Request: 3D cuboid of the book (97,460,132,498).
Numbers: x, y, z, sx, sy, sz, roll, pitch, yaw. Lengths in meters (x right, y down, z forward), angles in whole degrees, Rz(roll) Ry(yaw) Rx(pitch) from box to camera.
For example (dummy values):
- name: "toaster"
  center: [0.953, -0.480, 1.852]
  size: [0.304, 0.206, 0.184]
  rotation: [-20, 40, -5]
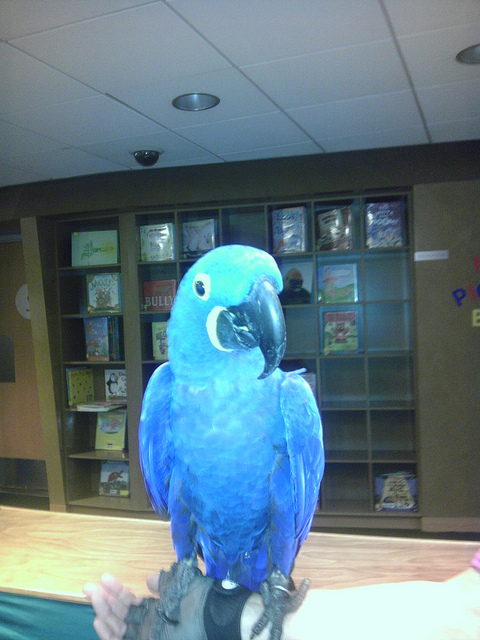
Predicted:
- name: "book"
  center: [-0.796, 1.014, 3.488]
  size: [0.272, 0.262, 0.088]
  rotation: [-6, -12, 32]

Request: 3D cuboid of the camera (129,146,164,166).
- name: "camera"
  center: [-0.500, -0.872, 2.916]
  size: [0.180, 0.085, 0.152]
  rotation: [-2, 0, -11]

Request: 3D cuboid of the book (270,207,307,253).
- name: "book"
  center: [0.244, -0.483, 2.937]
  size: [0.179, 0.235, 0.132]
  rotation: [-5, 17, -4]

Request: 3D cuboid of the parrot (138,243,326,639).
- name: "parrot"
  center: [-0.062, 0.231, 1.184]
  size: [0.498, 0.823, 0.296]
  rotation: [-2, 0, 32]

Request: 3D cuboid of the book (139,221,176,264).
- name: "book"
  center: [-0.449, -0.417, 2.997]
  size: [0.207, 0.199, 0.071]
  rotation: [-1, 2, 21]

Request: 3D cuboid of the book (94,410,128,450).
- name: "book"
  center: [-0.833, 0.708, 3.523]
  size: [0.250, 0.253, 0.061]
  rotation: [0, 1, 24]

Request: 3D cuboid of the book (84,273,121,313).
- name: "book"
  center: [-0.849, -0.167, 3.404]
  size: [0.221, 0.219, 0.015]
  rotation: [-13, -2, 26]

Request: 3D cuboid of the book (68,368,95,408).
- name: "book"
  center: [-1.057, 0.449, 3.593]
  size: [0.049, 0.287, 0.262]
  rotation: [-4, -2, 29]

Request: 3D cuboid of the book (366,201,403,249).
- name: "book"
  center: [0.782, -0.518, 3.001]
  size: [0.233, 0.280, 0.022]
  rotation: [-2, -13, 9]

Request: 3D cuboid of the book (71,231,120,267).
- name: "book"
  center: [-0.904, -0.443, 3.457]
  size: [0.247, 0.171, 0.009]
  rotation: [-1, -3, 26]
